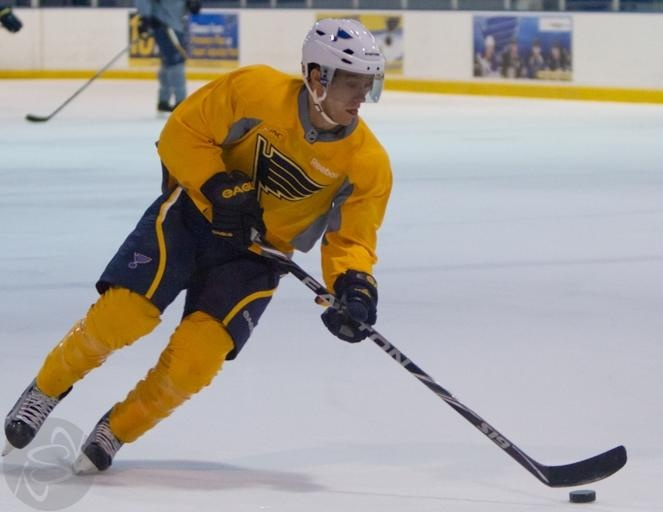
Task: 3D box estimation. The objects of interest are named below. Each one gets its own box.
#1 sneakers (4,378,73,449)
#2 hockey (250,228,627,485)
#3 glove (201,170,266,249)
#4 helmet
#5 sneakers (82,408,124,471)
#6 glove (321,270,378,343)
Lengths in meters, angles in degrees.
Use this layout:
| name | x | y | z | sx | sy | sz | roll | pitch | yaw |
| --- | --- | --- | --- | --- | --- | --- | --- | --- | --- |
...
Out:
| name | x | y | z | sx | sy | sz | roll | pitch | yaw |
| --- | --- | --- | --- | --- | --- | --- | --- | --- | --- |
| sneakers | -0.905 | 0.459 | 2.892 | 0.131 | 0.085 | 0.277 | -34 | 15 | 18 |
| hockey | 0.366 | 0.374 | 3.313 | 1.347 | 0.178 | 0.153 | 31 | 39 | 12 |
| glove | -0.300 | -0.153 | 2.947 | 0.214 | 0.216 | 0.095 | -2 | 2 | -12 |
| helmet | 0.038 | -0.616 | 2.960 | 0.255 | 0.247 | 0.191 | 4 | 15 | -3 |
| sneakers | -0.679 | 0.550 | 2.832 | 0.106 | 0.164 | 0.145 | 6 | 15 | 6 |
| glove | 0.065 | 0.154 | 2.986 | 0.100 | 0.212 | 0.194 | -19 | -35 | 40 |
